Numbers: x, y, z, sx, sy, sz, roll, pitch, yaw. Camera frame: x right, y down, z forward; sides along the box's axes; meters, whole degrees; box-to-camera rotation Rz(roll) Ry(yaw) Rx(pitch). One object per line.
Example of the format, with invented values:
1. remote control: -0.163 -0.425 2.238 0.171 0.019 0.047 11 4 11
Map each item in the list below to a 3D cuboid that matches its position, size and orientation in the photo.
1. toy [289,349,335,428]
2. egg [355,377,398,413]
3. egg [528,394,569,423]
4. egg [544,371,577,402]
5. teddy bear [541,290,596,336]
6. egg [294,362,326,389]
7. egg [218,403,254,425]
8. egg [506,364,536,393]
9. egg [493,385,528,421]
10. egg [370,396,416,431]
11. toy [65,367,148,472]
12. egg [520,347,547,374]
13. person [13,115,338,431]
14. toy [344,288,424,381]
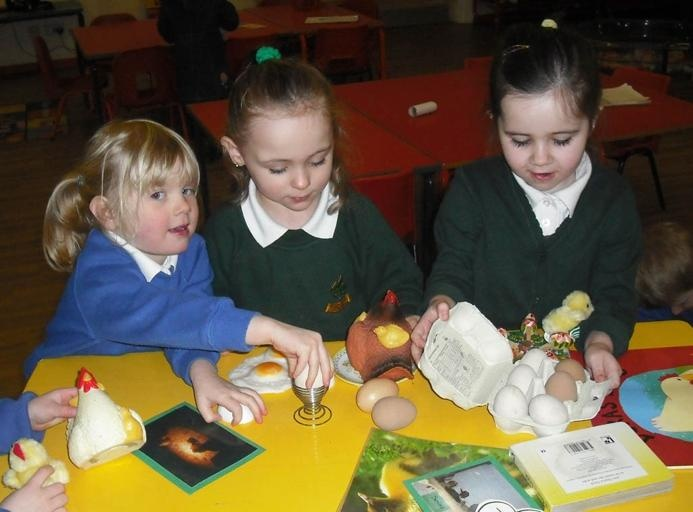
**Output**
1. toy: -0.085 0.318 1.483 0.135 0.183 0.131 -1 30 -4
2. egg: 0.069 0.334 1.497 0.098 0.060 0.067 -14 -3 -5
3. egg: 0.452 0.351 1.378 0.073 0.056 0.057 21 36 -6
4. egg: 0.499 0.307 1.425 0.066 0.079 0.067 -15 -19 20
5. teddy bear: 0.596 0.164 1.669 0.149 0.171 0.090 7 36 28
6. egg: -0.094 0.284 1.455 0.055 0.046 0.060 -1 -2 -12
7. egg: -0.270 0.387 1.476 0.062 0.022 0.059 4 39 -14
8. egg: 0.408 0.288 1.459 0.062 0.061 0.074 0 51 10
9. egg: 0.375 0.339 1.403 0.070 0.083 0.069 -11 -5 -6
10. egg: 0.110 0.371 1.450 0.092 0.068 0.068 -2 34 -6
11. toy: -0.557 0.384 1.388 0.181 0.215 0.084 -16 -15 -24
12. egg: 0.455 0.255 1.512 0.055 0.055 0.065 -7 48 14
13. person: -0.369 -0.151 1.910 1.194 0.958 0.478 23 33 29
14. toy: 0.062 0.206 1.647 0.217 0.284 0.204 5 -3 -7
